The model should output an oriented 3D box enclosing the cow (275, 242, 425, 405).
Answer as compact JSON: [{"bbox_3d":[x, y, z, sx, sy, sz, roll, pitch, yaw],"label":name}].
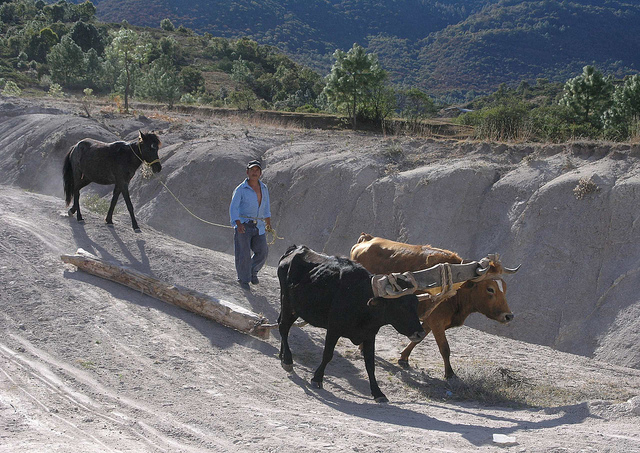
[{"bbox_3d":[1.248,4.588,47.698,3.853,5.998,10.016,0,10,-41],"label":"cow"}]
